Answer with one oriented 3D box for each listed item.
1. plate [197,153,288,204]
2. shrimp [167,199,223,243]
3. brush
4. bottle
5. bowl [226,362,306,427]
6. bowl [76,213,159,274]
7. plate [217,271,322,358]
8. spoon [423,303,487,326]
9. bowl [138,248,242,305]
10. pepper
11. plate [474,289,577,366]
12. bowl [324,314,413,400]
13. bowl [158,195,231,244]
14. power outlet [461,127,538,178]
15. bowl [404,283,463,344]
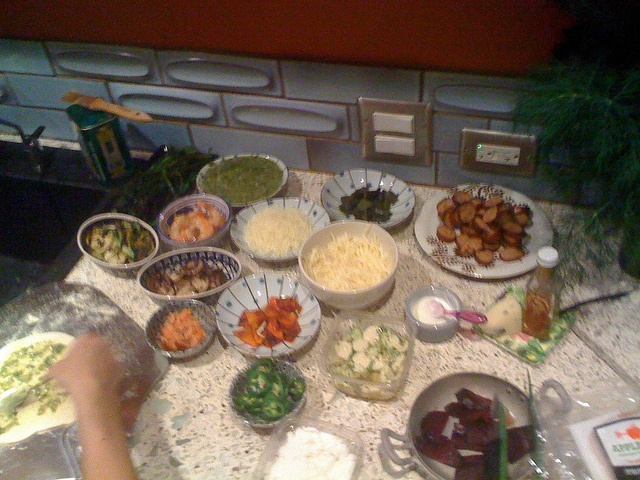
[{"bbox_3d":[-0.309,-0.243,1.914,0.247,0.060,0.248,-3,46,1],"label":"plate"},{"bbox_3d":[-0.453,-0.064,1.771,0.153,0.070,0.156,-12,38,7],"label":"shrimp"},{"bbox_3d":[-0.829,-0.511,1.904,0.429,0.075,0.074,18,60,17],"label":"brush"},{"bbox_3d":[0.635,0.159,1.359,0.095,0.285,0.147,3,56,9],"label":"bottle"},{"bbox_3d":[-0.152,0.432,1.360,0.163,0.060,0.166,-3,54,4],"label":"bowl"},{"bbox_3d":[-0.727,0.011,1.725,0.241,0.101,0.242,4,49,-5],"label":"bowl"},{"bbox_3d":[-0.173,0.215,1.487,0.265,0.074,0.266,-8,55,-3],"label":"plate"},{"bbox_3d":[0.416,0.228,1.494,0.191,0.047,0.060,13,82,11],"label":"spoon"},{"bbox_3d":[-0.431,0.128,1.616,0.168,0.082,0.143,-18,39,-23],"label":"bowl"},{"bbox_3d":[-0.133,0.426,1.447,0.253,0.120,0.276,-3,32,-6],"label":"pepper"},{"bbox_3d":[0.603,0.187,1.513,0.305,0.189,0.263,-15,30,-29],"label":"plate"},{"bbox_3d":[0.137,0.335,1.421,0.246,0.066,0.248,-3,55,4],"label":"bowl"},{"bbox_3d":[-0.460,-0.063,1.766,0.212,0.081,0.212,-2,46,2],"label":"bowl"},{"bbox_3d":[0.654,-0.354,1.755,0.284,0.152,0.178,9,31,21],"label":"power outlet"},{"bbox_3d":[0.348,0.215,1.485,0.169,0.071,0.167,-6,50,8],"label":"bowl"}]
